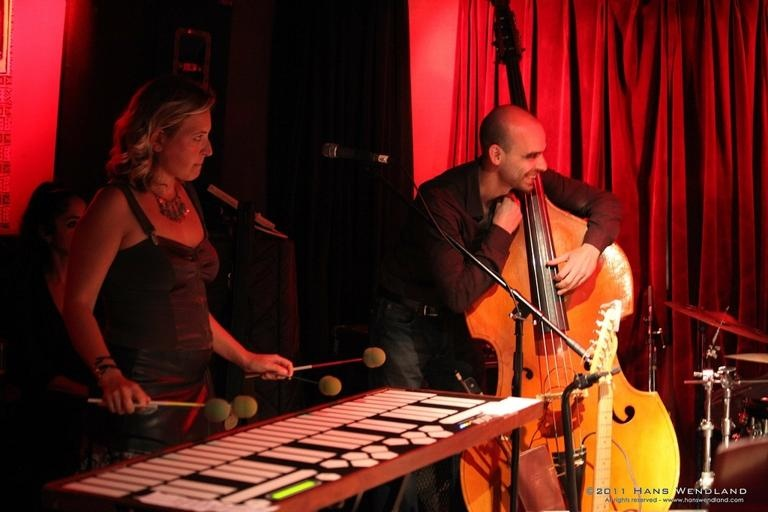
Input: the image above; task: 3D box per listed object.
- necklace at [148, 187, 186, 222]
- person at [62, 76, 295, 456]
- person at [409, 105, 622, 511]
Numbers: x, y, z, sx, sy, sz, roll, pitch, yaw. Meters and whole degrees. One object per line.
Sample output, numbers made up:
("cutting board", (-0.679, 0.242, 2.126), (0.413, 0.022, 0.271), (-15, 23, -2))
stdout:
("necklace", (-0.972, -0.232, 3.300), (0.027, 0.145, 0.105), (-23, 2, 36))
("person", (-0.978, -0.077, 3.246), (0.788, 1.496, 0.405), (3, -5, -43))
("person", (0.629, -0.057, 3.710), (0.826, 1.414, 0.415), (-7, 0, -20))
